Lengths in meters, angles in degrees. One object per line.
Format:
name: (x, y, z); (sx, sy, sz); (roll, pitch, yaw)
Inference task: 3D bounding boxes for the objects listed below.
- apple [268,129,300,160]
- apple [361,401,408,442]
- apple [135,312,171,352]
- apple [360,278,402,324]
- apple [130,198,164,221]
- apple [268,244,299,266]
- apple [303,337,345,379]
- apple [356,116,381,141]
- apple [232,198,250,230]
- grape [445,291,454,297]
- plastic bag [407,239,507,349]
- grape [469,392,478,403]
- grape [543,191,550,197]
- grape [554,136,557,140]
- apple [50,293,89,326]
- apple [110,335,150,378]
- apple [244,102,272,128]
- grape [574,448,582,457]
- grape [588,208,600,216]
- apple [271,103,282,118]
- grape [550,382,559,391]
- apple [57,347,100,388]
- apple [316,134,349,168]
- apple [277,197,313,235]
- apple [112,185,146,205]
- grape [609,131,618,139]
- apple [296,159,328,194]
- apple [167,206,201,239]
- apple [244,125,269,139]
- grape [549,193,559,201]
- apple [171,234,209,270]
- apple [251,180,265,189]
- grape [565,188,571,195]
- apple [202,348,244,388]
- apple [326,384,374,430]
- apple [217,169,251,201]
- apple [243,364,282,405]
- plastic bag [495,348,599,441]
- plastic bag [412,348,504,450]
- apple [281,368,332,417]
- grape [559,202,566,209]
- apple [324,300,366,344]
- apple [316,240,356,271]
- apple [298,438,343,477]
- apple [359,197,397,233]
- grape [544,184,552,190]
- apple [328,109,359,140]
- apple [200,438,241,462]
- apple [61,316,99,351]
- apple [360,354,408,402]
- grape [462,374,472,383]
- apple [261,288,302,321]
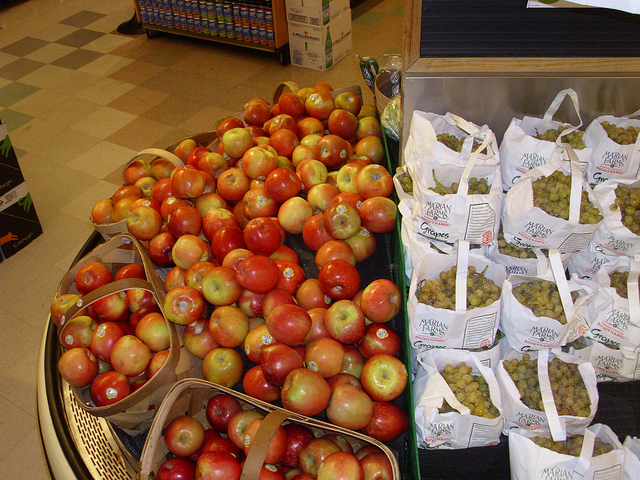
apple: (-0.174, -0.539, 2.499); (0.144, 0.163, 0.162); (-4, 41, 8)
apple: (0.240, 0.658, 1.788); (0.152, 0.133, 0.120); (8, -3, -2)
apple: (-0.687, 0.387, 1.912); (0.148, 0.163, 0.140); (-17, -18, 41)
apple: (0.245, 0.241, 1.969); (0.159, 0.165, 0.166); (12, 62, 19)
apple: (-0.814, -0.160, 2.258); (0.092, 0.101, 0.101); (6, 57, 22)
apple: (-0.155, 0.064, 2.118); (0.086, 0.096, 0.108); (6, 10, 5)
apple: (0.020, 0.436, 1.842); (0.132, 0.147, 0.137); (-4, 10, -26)
apple: (0.269, -0.595, 2.650); (0.108, 0.122, 0.119); (4, 49, 36)
apple: (-0.399, -0.129, 2.378); (0.111, 0.146, 0.118); (-9, 43, -20)
grape: (0.491, 0.204, 1.802); (0.017, 0.012, 0.020); (-9, 9, -40)
plastic bag: (0.528, 0.235, 1.846); (0.331, 0.519, 0.274); (3, 42, 10)
grape: (0.549, 0.558, 1.703); (0.025, 0.025, 0.025); (-32, 0, 2)
grape: (0.887, -0.181, 1.868); (0.019, 0.007, 0.023); (7, 41, 12)
grape: (1.005, -0.432, 2.032); (0.009, 0.014, 0.024); (9, 41, 15)
apple: (-1.066, 0.291, 1.984); (0.098, 0.102, 0.102); (-4, 36, -26)
apple: (-0.711, 0.435, 1.863); (0.141, 0.146, 0.144); (-29, -2, -10)
apple: (-0.348, -0.702, 2.681); (0.124, 0.144, 0.138); (6, 28, 4)
grape: (0.906, 0.742, 1.675); (0.010, 0.024, 0.025); (2, 71, 1)
grape: (1.068, -0.109, 1.853); (0.045, 0.023, 0.026); (-9, 39, -8)
apple: (-0.252, -0.729, 2.711); (0.061, 0.069, 0.076); (-8, 3, 35)
grape: (0.864, 0.535, 1.755); (0.023, 0.014, 0.025); (-5, 49, 24)
apple: (-0.923, 0.471, 1.819); (0.125, 0.140, 0.128); (26, 19, 38)
apple: (0.059, -0.455, 2.429); (0.165, 0.187, 0.165); (-9, 19, 10)
apple: (-0.115, -0.108, 2.228); (0.136, 0.148, 0.142); (-17, -1, -14)
apple: (-0.948, -0.230, 2.349); (0.116, 0.103, 0.111); (-12, 71, -11)
grape: (1.248, -0.444, 2.029); (0.024, 0.017, 0.030); (-25, 46, 1)
apple: (-0.036, -0.305, 2.368); (0.136, 0.147, 0.142); (-7, 42, -28)
apple: (-0.612, -0.065, 2.203); (0.133, 0.148, 0.136); (-6, 41, -4)
apple: (-0.340, -0.571, 2.551); (0.087, 0.098, 0.086); (-8, -7, -36)
grape: (0.908, -0.165, 1.849); (0.025, 0.029, 0.027); (1, 10, -9)
apple: (-0.583, 0.051, 2.122); (0.157, 0.174, 0.153); (10, 18, -11)
apple: (-0.301, -0.267, 2.288); (0.052, 0.050, 0.047); (-7, -6, 7)
grape: (0.963, -0.188, 1.853); (0.019, 0.010, 0.020); (-29, 82, -22)
apple: (-0.369, 0.487, 1.837); (0.136, 0.148, 0.150); (-6, 64, -3)
apple: (0.104, 0.598, 1.765); (0.164, 0.152, 0.146); (16, 23, -17)
apple: (-0.413, -0.263, 2.311); (0.133, 0.146, 0.149); (-8, 66, -4)
apple: (-0.221, 0.552, 1.854); (0.125, 0.144, 0.141); (5, 33, -3)
plastic bag: (0.852, 0.604, 1.878); (0.300, 0.329, 0.331); (1, 60, 6)
plastic bag: (0.513, 0.620, 1.901); (0.335, 0.347, 0.353); (0, 49, 9)
apple: (-0.057, 0.527, 1.742); (0.164, 0.164, 0.159); (19, 23, -11)
grape: (0.934, -0.133, 1.837); (0.020, 0.022, 0.019); (14, 25, 7)
apple: (0.102, 0.312, 1.900); (0.144, 0.150, 0.157); (-17, 56, 23)
apple: (0.060, 0.052, 2.080); (0.121, 0.135, 0.139); (-17, 10, 28)
apple: (-0.006, 0.737, 1.715); (0.118, 0.123, 0.120); (7, 30, -48)
apple: (0.261, -0.099, 2.139); (0.168, 0.167, 0.099); (1, 38, 5)
grape: (0.898, -0.206, 1.874); (0.025, 0.016, 0.015); (16, 42, 21)
apple: (0.132, -0.603, 2.538); (0.174, 0.162, 0.140); (-5, 38, -4)
apple: (-0.358, 0.731, 1.715); (0.109, 0.094, 0.099); (15, 43, -50)
apple: (-0.948, 0.368, 1.939); (0.117, 0.130, 0.120); (-8, 32, 4)
apple: (0.234, 0.492, 1.748); (0.147, 0.171, 0.157); (-7, -12, 6)
grape: (0.534, 0.508, 1.756); (0.023, 0.012, 0.026); (-1, 55, 19)
apple: (-0.160, 0.240, 1.973); (0.120, 0.130, 0.123); (30, -2, -11)
